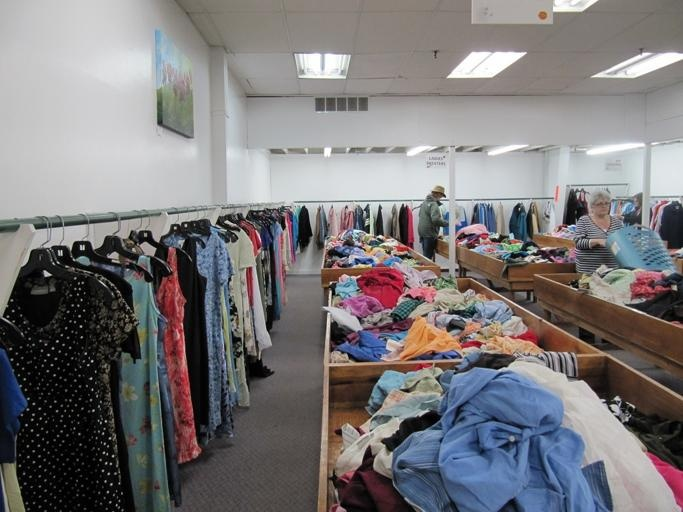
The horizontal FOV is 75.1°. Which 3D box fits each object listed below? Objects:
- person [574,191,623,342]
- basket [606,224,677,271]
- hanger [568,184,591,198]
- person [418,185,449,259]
[{"bbox_3d":[2.678,0.012,4.678,0.433,1.369,1.097,5,12,31],"label":"person"},{"bbox_3d":[2.657,-0.059,3.891,0.403,0.352,0.572,-1,11,6],"label":"basket"},{"bbox_3d":[3.716,-1.012,6.906,0.118,0.262,0.455,0,2,-21],"label":"hanger"},{"bbox_3d":[1.525,-0.497,7.443,0.433,1.320,0.738,0,11,9],"label":"person"}]
